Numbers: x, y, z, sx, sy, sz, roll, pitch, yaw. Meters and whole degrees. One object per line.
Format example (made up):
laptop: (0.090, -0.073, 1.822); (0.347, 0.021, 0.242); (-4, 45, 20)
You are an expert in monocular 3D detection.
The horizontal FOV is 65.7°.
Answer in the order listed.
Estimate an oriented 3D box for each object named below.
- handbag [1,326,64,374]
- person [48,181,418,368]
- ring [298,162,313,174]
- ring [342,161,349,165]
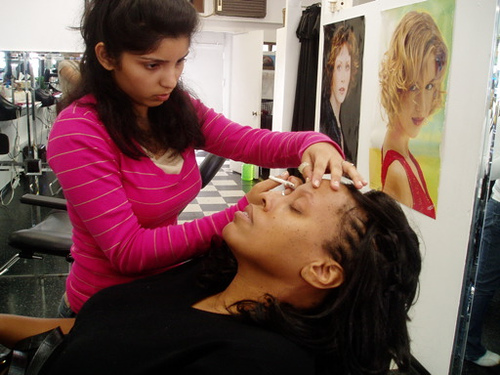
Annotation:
handbag: (-0.692, 0.516, 1.226); (0.141, 0.056, 0.083); (-41, 24, -3)
person: (-0.017, 0.246, 1.103); (0.927, 0.487, 0.515); (4, 11, 22)
ring: (0.175, -0.066, 1.227); (0.013, 0.036, 0.030); (42, -2, -27)
ring: (0.294, -0.075, 1.197); (0.016, 0.014, 0.017); (-1, 5, 0)
